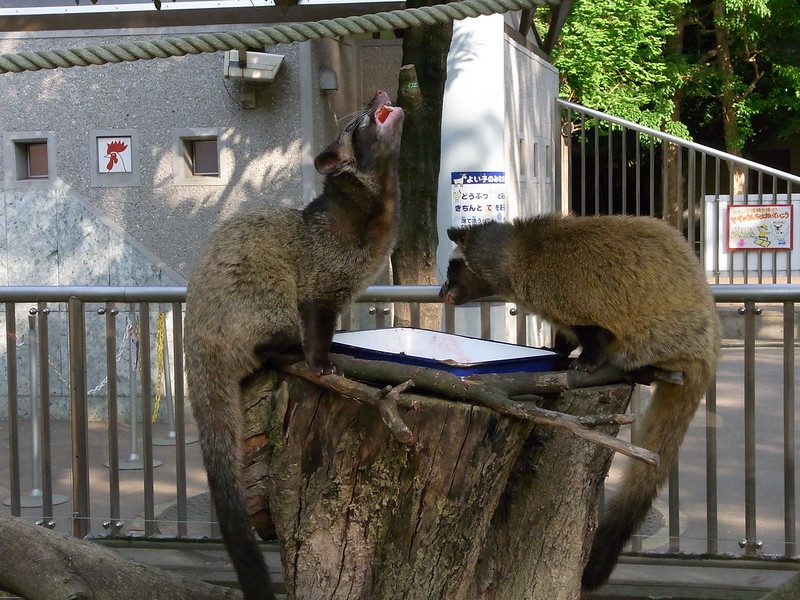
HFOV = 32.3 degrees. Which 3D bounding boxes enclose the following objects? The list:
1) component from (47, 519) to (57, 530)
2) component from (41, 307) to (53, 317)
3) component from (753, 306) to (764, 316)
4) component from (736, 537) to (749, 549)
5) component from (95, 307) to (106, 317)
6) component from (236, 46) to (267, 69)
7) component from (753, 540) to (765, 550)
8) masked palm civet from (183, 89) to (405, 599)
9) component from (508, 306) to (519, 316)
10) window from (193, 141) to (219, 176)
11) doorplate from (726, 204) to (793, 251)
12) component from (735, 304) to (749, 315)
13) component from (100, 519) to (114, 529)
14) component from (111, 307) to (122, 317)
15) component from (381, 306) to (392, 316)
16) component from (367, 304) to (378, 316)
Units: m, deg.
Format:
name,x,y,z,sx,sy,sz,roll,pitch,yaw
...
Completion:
name,x,y,z,sx,sy,sz,roll,pitch,yaw
component,-2.646,1.715,10.490,0.104,0.077,0.042,4,-3,-20
component,-2.680,0.097,10.469,0.054,0.065,0.050,5,20,19
component,2.632,0.093,10.112,0.040,0.068,0.084,9,10,39
component,2.533,1.809,10.171,0.064,0.057,0.050,-3,1,-22
component,-2.265,0.098,10.440,0.063,0.044,0.061,1,3,-26
component,-1.504,-2.449,14.048,0.272,0.232,0.676,1,8,-5
component,2.645,1.810,10.159,0.076,0.058,0.032,3,8,8
masked palm civet,-0.703,0.272,8.874,1.330,3.201,0.664,1,8,-8
component,0.876,0.096,10.520,0.061,0.059,0.014,-15,-31,23
window,-2.060,-1.503,14.689,0.382,0.440,0.038,1,7,10
doorplate,4.794,-0.933,18.202,0.714,0.510,0.025,2,-6,30
component,2.517,0.079,10.112,0.064,0.061,0.061,9,-7,-8
component,-2.227,1.710,10.488,0.067,0.059,0.048,20,-18,-10
component,-2.152,0.096,10.452,0.070,0.065,0.017,8,8,-6
component,-0.096,0.092,10.348,0.036,0.039,0.104,-9,-8,24
component,-0.203,0.087,10.428,0.082,0.037,0.096,2,7,-11
